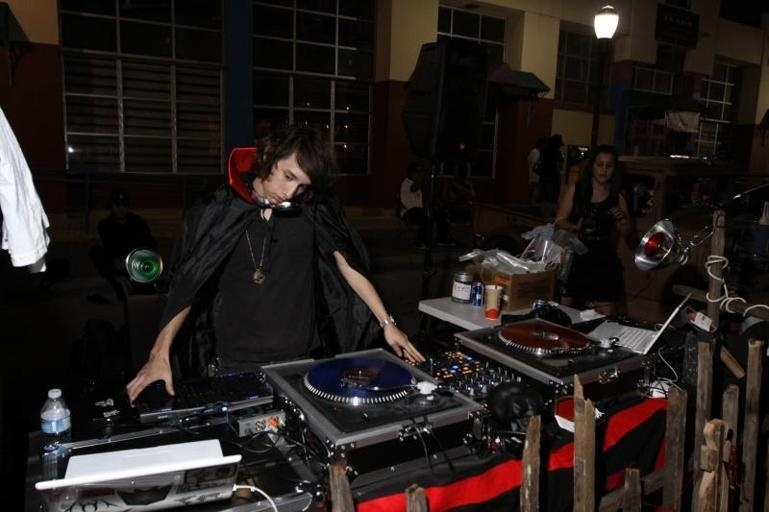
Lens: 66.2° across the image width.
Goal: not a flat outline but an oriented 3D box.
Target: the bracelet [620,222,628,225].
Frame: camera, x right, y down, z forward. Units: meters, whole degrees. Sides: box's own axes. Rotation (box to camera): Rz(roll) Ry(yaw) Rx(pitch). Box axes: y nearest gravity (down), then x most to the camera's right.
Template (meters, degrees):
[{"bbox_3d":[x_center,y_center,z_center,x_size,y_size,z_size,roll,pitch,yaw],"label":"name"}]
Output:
[{"bbox_3d":[2.177,-0.291,5.369,0.033,0.008,0.033,18,52,28],"label":"bracelet"}]

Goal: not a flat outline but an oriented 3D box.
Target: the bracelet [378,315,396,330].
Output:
[{"bbox_3d":[-0.003,0.413,3.544,0.104,0.067,0.104,-26,-4,11],"label":"bracelet"}]

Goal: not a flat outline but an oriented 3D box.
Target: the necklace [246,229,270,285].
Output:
[{"bbox_3d":[-0.739,0.011,3.423,0.125,0.315,0.049,0,7,16],"label":"necklace"}]

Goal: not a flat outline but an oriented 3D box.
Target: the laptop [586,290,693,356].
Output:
[{"bbox_3d":[1.468,0.490,3.540,0.447,0.278,0.433,-17,27,-40],"label":"laptop"}]
